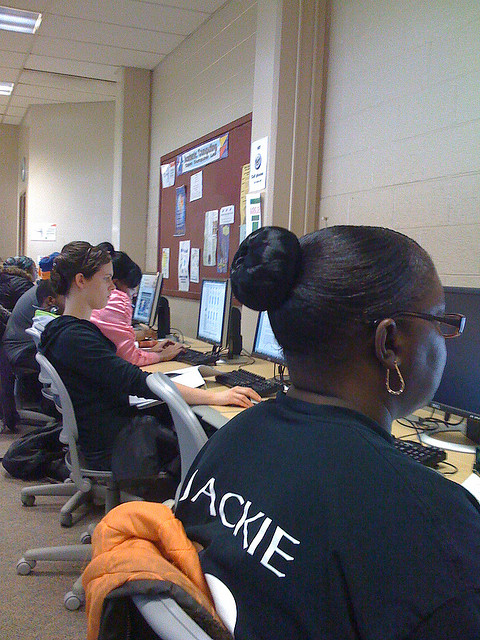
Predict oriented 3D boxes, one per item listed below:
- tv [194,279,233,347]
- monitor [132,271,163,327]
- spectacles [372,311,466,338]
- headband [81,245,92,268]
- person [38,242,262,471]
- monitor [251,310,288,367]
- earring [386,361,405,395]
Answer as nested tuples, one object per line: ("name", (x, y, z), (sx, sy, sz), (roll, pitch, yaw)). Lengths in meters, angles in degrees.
("tv", (-0.173, -0.051, 2.752), (0.042, 0.375, 0.381), (8, 0, 15))
("monitor", (-0.725, -0.162, 3.573), (0.039, 0.381, 0.391), (17, 5, 9))
("spectacles", (0.253, 0.008, 0.650), (0.061, 0.043, 0.311), (7, 5, 32))
("headband", (-0.630, -0.255, 1.993), (0.012, 0.101, 0.014), (22, -30, 3))
("person", (-0.371, 0.299, 2.048), (0.737, 1.263, 0.457), (-14, 19, -18))
("monitor", (0.125, 0.070, 2.242), (0.019, 0.235, 0.343), (-3, -7, 18))
("earring", (0.179, 0.067, 0.565), (0.013, 0.040, 0.030), (8, 6, 40))
